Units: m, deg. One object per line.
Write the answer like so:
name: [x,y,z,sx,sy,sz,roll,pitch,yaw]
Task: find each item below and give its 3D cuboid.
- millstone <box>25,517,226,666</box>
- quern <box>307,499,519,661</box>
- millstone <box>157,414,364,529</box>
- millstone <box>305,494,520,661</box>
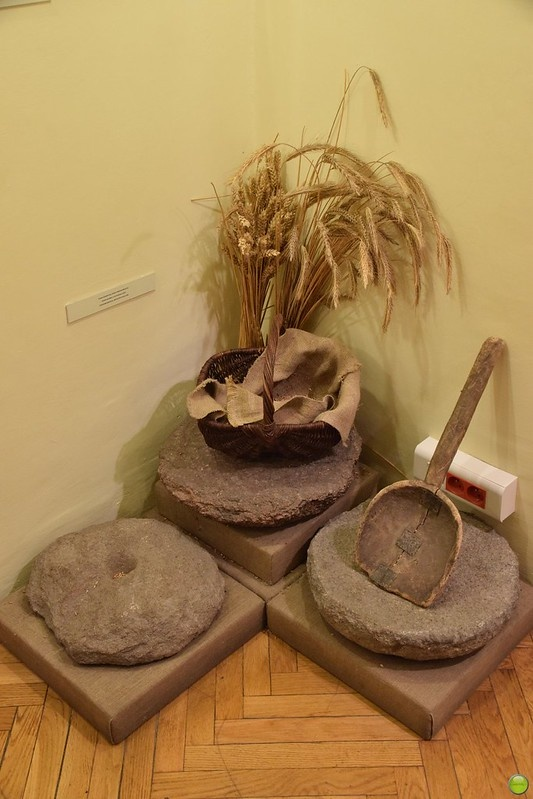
millstone: [-0.326,0.433,1.528,0.393,0.172,0.422,-32,43,-31]
quern: [0.342,0.424,1.552,0.490,0.119,0.474,-21,31,-33]
millstone: [-0.030,0.140,1.730,0.449,0.230,0.419,-16,22,-40]
millstone: [0.361,0.416,1.555,0.493,0.120,0.480,-15,30,-20]
